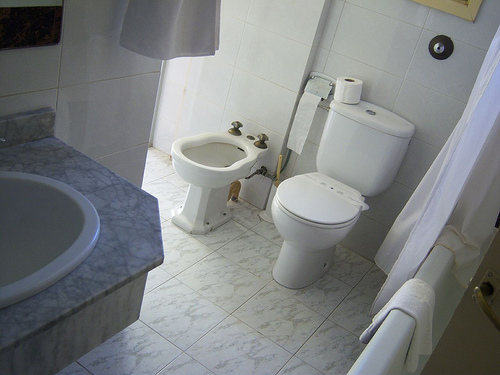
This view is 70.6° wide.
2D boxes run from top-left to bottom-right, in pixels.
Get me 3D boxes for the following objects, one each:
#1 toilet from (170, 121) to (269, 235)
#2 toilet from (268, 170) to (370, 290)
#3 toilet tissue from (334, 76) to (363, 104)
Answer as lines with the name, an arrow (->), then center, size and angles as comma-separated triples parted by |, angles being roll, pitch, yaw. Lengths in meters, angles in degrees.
toilet -> -0.252, -0.066, 2.484 | 0.488, 0.639, 0.725 | 27, 28, 21
toilet -> 0.384, 0.298, 2.302 | 0.555, 0.653, 0.540 | -19, 41, -38
toilet tissue -> 0.623, -0.610, 2.285 | 0.161, 0.129, 0.169 | 0, 30, -26
